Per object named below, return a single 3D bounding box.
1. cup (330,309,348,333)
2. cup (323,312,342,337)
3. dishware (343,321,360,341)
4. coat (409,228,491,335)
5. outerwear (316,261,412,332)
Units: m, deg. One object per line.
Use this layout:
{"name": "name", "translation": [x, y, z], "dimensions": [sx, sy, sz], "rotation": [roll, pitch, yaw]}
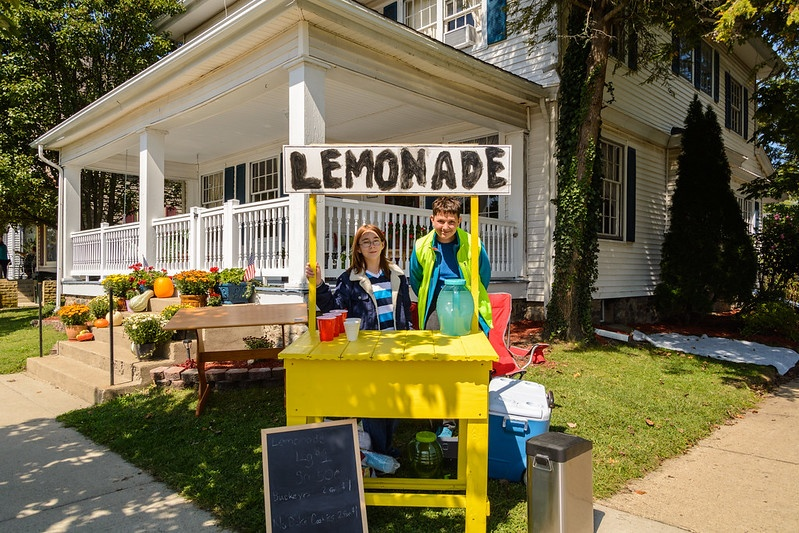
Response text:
{"name": "cup", "translation": [-0.689, 0.629, 6.909], "dimensions": [0.228, 0.244, 0.235], "rotation": [0, 5, 0]}
{"name": "cup", "translation": [-0.739, 0.676, 6.848], "dimensions": [0.246, 0.216, 0.250], "rotation": [0, -2, 0]}
{"name": "dishware", "translation": [-0.533, 0.732, 6.828], "dimensions": [0.201, 0.230, 0.212], "rotation": [3, 2, 33]}
{"name": "coat", "translation": [0.666, 0.136, 7.851], "dimensions": [1.058, 1.411, 0.785], "rotation": [-2, 14, 4]}
{"name": "outerwear", "translation": [-0.428, 0.392, 7.401], "dimensions": [0.851, 0.781, 0.295], "rotation": [0, -8, -13]}
